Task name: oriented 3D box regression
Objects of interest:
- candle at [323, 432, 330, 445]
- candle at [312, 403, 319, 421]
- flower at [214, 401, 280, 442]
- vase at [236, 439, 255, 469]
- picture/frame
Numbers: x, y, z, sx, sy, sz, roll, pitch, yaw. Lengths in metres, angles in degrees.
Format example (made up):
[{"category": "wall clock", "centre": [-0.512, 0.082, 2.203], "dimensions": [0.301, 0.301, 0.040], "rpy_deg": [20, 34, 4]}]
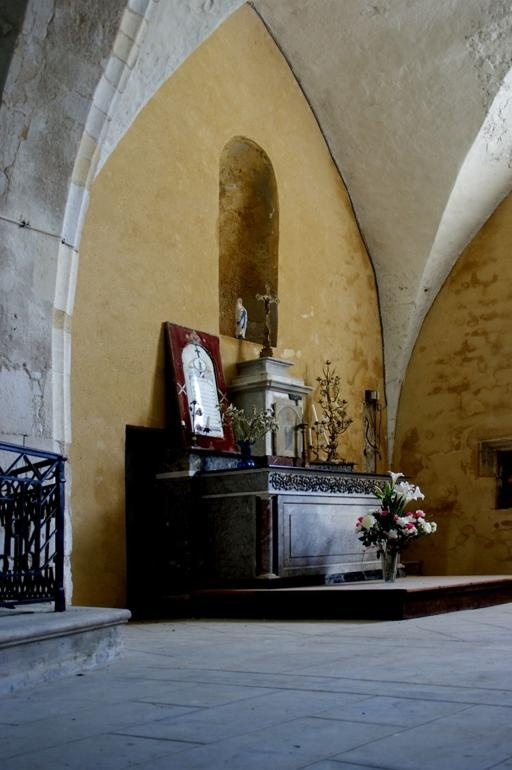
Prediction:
[{"category": "candle", "centre": [0.729, 0.537, 8.245], "dimensions": [0.058, 0.187, 0.039], "rpy_deg": [-2, -6, -45]}, {"category": "candle", "centre": [0.602, 0.273, 8.138], "dimensions": [0.058, 0.189, 0.128], "rpy_deg": [-1, -7, 14]}, {"category": "flower", "centre": [-0.099, 0.303, 6.445], "dimensions": [0.364, 0.277, 0.386], "rpy_deg": [-2, -6, 25]}, {"category": "vase", "centre": [-0.073, 0.515, 6.014], "dimensions": [0.168, 0.294, 0.183], "rpy_deg": [0, -7, 8]}, {"category": "picture/frame", "centre": [-0.455, 0.019, 6.591], "dimensions": [0.365, 0.999, 0.774], "rpy_deg": [-3, -8, 27]}]
